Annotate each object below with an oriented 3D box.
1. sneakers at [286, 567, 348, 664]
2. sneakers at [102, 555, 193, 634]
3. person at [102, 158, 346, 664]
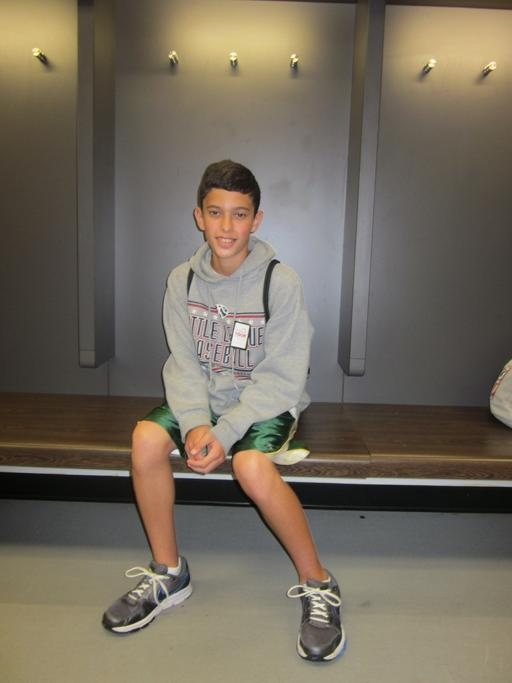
[{"bbox_3d":[0.155,0.696,1.496,0.142,0.119,0.290,-5,8,8],"label":"sneakers"},{"bbox_3d":[-0.291,0.673,1.555,0.117,0.119,0.281,10,14,38],"label":"sneakers"},{"bbox_3d":[-0.032,0.103,1.631,0.639,1.246,0.632,3,9,9],"label":"person"}]
